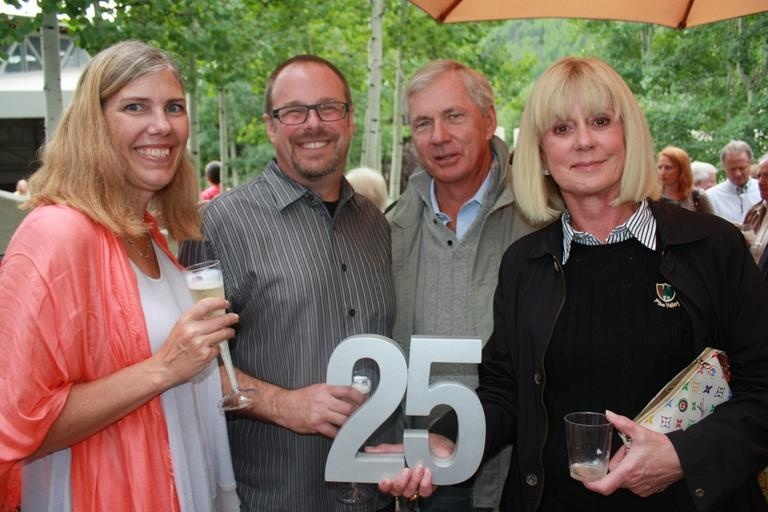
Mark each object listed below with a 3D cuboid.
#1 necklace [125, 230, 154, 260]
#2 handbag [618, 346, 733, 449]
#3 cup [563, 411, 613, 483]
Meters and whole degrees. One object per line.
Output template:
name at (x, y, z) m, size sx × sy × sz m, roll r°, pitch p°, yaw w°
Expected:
necklace at (-1.370, -0.038, 3.924) m, size 0.025 × 0.109 × 0.086 m, roll -5°, pitch 17°, yaw 42°
handbag at (1.604, 0.723, 3.685) m, size 0.559 × 0.450 × 0.200 m, roll -27°, pitch 5°, yaw -5°
cup at (1.042, 0.965, 3.623) m, size 0.314 × 0.352 × 0.326 m, roll -1°, pitch -3°, yaw 0°
